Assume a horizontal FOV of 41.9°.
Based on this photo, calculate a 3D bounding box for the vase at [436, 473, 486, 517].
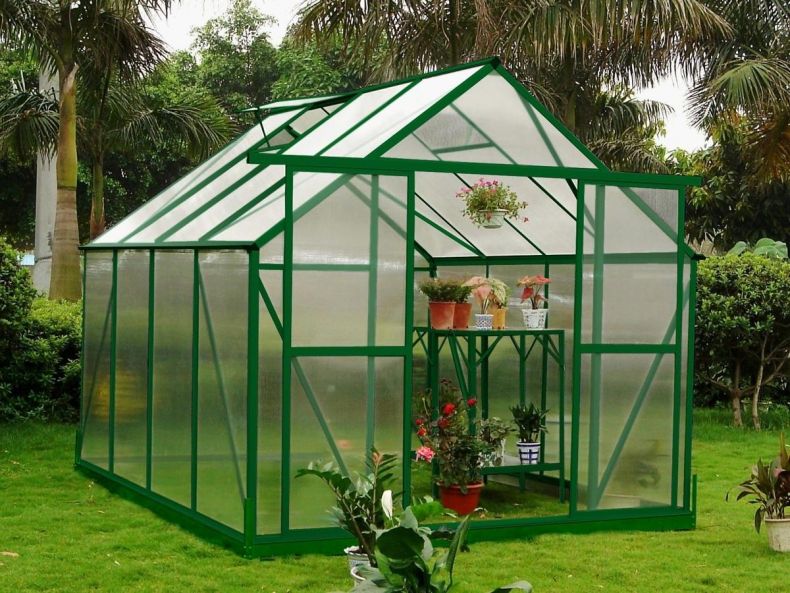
[{"bbox_3d":[0.750,2.275,12.196,0.613,0.423,0.626,-1,4,-20],"label":"vase"}]

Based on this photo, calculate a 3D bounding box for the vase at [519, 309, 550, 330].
[{"bbox_3d":[1.767,0.270,13.069,0.259,0.195,0.257,1,1,-35],"label":"vase"}]

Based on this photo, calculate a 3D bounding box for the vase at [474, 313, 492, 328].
[{"bbox_3d":[1.098,0.296,12.703,0.193,0.212,0.299,1,-6,9],"label":"vase"}]

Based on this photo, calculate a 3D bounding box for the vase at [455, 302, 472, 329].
[{"bbox_3d":[0.831,0.221,12.718,0.210,0.339,0.188,2,-6,0],"label":"vase"}]

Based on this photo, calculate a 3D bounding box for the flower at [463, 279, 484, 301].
[{"bbox_3d":[0.997,-0.121,12.729,0.263,0.270,0.271,0,-6,20],"label":"flower"}]

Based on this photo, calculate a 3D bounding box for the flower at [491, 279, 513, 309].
[{"bbox_3d":[1.309,-0.041,12.840,0.307,0.249,0.316,3,7,10],"label":"flower"}]

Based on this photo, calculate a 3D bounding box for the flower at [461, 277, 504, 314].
[{"bbox_3d":[1.101,-0.025,12.891,0.390,0.300,0.405,10,9,27],"label":"flower"}]

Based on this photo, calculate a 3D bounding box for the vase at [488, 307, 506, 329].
[{"bbox_3d":[1.283,0.262,12.879,0.209,0.199,0.220,1,3,-11],"label":"vase"}]

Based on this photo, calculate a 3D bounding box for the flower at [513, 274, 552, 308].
[{"bbox_3d":[1.772,-0.079,13.203,0.357,0.482,0.440,0,0,-4],"label":"flower"}]

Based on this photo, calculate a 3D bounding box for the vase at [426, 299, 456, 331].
[{"bbox_3d":[0.581,0.215,12.779,0.302,0.266,0.336,1,1,4],"label":"vase"}]

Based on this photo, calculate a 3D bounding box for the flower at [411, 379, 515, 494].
[{"bbox_3d":[0.725,1.653,12.247,1.167,1.346,1.083,-1,-9,-3],"label":"flower"}]

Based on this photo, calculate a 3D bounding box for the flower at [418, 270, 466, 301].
[{"bbox_3d":[0.584,-0.107,12.770,0.489,0.335,0.501,6,-7,-31],"label":"flower"}]

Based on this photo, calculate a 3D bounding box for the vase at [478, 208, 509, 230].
[{"bbox_3d":[1.190,-0.930,12.382,0.218,0.170,0.217,-6,8,-35],"label":"vase"}]

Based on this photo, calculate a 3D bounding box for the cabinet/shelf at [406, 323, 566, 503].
[{"bbox_3d":[1.206,1.104,13.921,1.870,2.807,2.520,-1,0,-24],"label":"cabinet/shelf"}]

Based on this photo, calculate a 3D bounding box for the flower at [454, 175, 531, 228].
[{"bbox_3d":[1.229,-1.094,12.508,0.568,0.485,0.611,2,-7,9],"label":"flower"}]
